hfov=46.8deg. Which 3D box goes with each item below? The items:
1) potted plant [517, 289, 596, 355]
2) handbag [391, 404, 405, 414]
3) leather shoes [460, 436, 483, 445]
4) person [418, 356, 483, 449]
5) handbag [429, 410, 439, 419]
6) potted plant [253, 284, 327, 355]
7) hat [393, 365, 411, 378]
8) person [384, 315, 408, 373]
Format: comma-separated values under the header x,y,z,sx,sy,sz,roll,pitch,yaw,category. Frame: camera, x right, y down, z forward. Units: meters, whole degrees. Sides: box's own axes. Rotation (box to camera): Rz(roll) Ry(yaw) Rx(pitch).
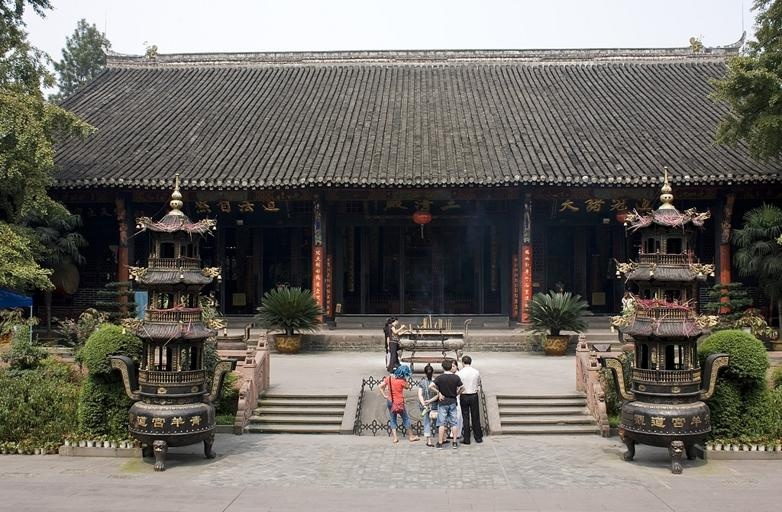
x,y,z,sx,sy,sz,roll,pitch,yaw,category
5.815,2.464,31.528,2.250,2.197,2.184,5,-6,-16,potted plant
0.174,4.156,24.305,0.278,0.110,0.267,2,-1,-16,handbag
2.128,5.005,24.298,0.639,0.249,0.193,-6,2,-5,leather shoes
1.661,3.970,24.173,1.331,2.273,0.705,2,-9,-29,person
1.121,4.285,24.182,0.206,0.072,0.207,-1,1,-15,handbag
-3.464,2.421,31.724,2.161,2.218,2.172,12,-18,-41,potted plant
0.285,3.256,24.635,0.478,0.445,0.420,-4,1,4,hat
0.132,2.878,28.549,0.708,0.515,1.602,-5,31,-1,person
